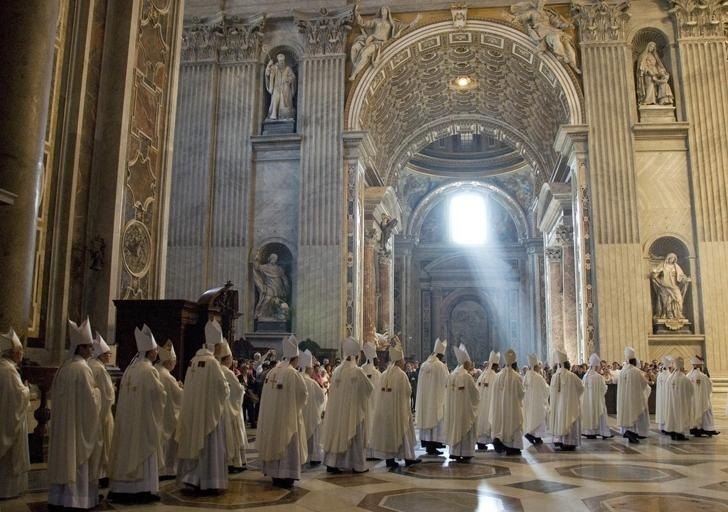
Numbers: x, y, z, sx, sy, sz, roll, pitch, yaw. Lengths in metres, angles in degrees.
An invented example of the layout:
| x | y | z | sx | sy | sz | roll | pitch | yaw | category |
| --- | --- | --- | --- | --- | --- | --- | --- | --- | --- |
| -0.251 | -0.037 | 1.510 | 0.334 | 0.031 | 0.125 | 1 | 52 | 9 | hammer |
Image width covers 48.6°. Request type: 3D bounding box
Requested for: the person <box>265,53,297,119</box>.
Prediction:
| x | y | z | sx | sy | sz | roll | pitch | yaw | category |
| --- | --- | --- | --- | --- | --- | --- | --- | --- | --- |
| -2.379 | -4.765 | 22.890 | 0.907 | 2.026 | 0.548 | 2 | -14 | -7 | person |

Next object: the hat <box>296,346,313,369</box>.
| x | y | z | sx | sy | sz | roll | pitch | yaw | category |
| --- | --- | --- | --- | --- | --- | --- | --- | --- | --- |
| -0.939 | 1.685 | 13.102 | 0.262 | 0.334 | 0.342 | 1 | -6 | 2 | hat |

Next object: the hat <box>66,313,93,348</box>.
| x | y | z | sx | sy | sz | roll | pitch | yaw | category |
| --- | --- | --- | --- | --- | --- | --- | --- | --- | --- |
| -3.857 | 0.992 | 10.914 | 0.420 | 0.424 | 0.378 | -4 | -4 | 19 | hat |

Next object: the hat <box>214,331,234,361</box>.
| x | y | z | sx | sy | sz | roll | pitch | yaw | category |
| --- | --- | --- | --- | --- | --- | --- | --- | --- | --- |
| -2.069 | 1.321 | 11.829 | 0.248 | 0.297 | 0.304 | 2 | -29 | 2 | hat |

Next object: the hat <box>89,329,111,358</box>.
| x | y | z | sx | sy | sz | roll | pitch | yaw | category |
| --- | --- | --- | --- | --- | --- | --- | --- | --- | --- |
| -3.730 | 1.244 | 11.226 | 0.329 | 0.334 | 0.289 | -6 | -4 | 1 | hat |

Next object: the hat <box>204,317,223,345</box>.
| x | y | z | sx | sy | sz | roll | pitch | yaw | category |
| --- | --- | --- | --- | --- | --- | --- | --- | --- | --- |
| -2.173 | 1.086 | 11.676 | 0.243 | 0.398 | 0.439 | 3 | -14 | -14 | hat |

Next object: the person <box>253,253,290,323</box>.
| x | y | z | sx | sy | sz | roll | pitch | yaw | category |
| --- | --- | --- | --- | --- | --- | --- | --- | --- | --- |
| -2.540 | 0.914 | 22.073 | 0.999 | 1.852 | 0.437 | 1 | -14 | -4 | person |

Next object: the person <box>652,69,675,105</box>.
| x | y | z | sx | sy | sz | roll | pitch | yaw | category |
| --- | --- | --- | --- | --- | --- | --- | --- | --- | --- |
| 8.041 | -4.474 | 21.472 | 0.483 | 1.010 | 0.178 | -1 | -14 | 3 | person |

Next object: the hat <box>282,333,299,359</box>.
| x | y | z | sx | sy | sz | roll | pitch | yaw | category |
| --- | --- | --- | --- | --- | --- | --- | --- | --- | --- |
| -1.103 | 1.384 | 12.201 | 0.231 | 0.295 | 0.328 | -1 | -13 | 2 | hat |

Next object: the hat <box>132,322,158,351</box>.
| x | y | z | sx | sy | sz | roll | pitch | yaw | category |
| --- | --- | --- | --- | --- | --- | --- | --- | --- | --- |
| -3.081 | 1.153 | 11.452 | 0.307 | 0.452 | 0.595 | 3 | -14 | -14 | hat |

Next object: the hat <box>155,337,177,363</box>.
| x | y | z | sx | sy | sz | roll | pitch | yaw | category |
| --- | --- | --- | --- | --- | --- | --- | --- | --- | --- |
| -2.800 | 1.360 | 11.627 | 0.311 | 0.305 | 0.297 | -12 | -12 | 41 | hat |

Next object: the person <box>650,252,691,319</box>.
| x | y | z | sx | sy | sz | roll | pitch | yaw | category |
| --- | --- | --- | --- | --- | --- | --- | --- | --- | --- |
| 7.878 | 0.817 | 20.673 | 0.882 | 1.685 | 0.464 | -5 | -14 | 20 | person |
